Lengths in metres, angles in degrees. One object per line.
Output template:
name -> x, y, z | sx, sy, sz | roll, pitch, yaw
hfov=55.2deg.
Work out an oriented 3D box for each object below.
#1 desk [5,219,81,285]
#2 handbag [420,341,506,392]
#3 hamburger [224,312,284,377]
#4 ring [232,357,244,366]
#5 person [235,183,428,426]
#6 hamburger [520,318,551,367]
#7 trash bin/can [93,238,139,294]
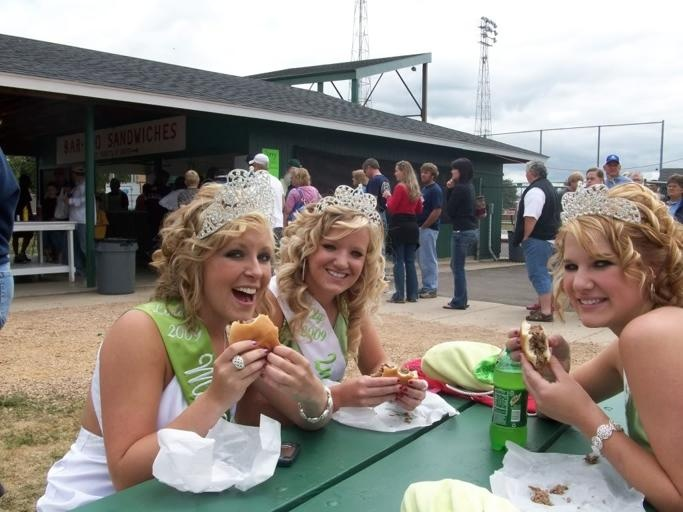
desk -> -4.717, -0.057, 10.460 | 1.107, 0.860, 0.909 | 5, 6, 41
handbag -> 0.522, 0.464, 3.029 | 0.343, 0.205, 0.392 | 9, 5, 42
hamburger -> -0.329, 0.324, 2.420 | 0.189, 0.187, 0.149 | -25, -4, -8
ring -> -0.361, 0.368, 2.282 | 0.044, 0.039, 0.019 | -2, 12, -8
person -> -0.054, 0.335, 3.136 | 0.837, 1.265, 0.709 | 6, -2, 10
hamburger -> 0.704, 0.318, 2.392 | 0.106, 0.180, 0.058 | 11, -35, -10
trash bin/can -> -3.309, 0.127, 9.652 | 0.783, 0.869, 0.539 | 2, 2, 25
